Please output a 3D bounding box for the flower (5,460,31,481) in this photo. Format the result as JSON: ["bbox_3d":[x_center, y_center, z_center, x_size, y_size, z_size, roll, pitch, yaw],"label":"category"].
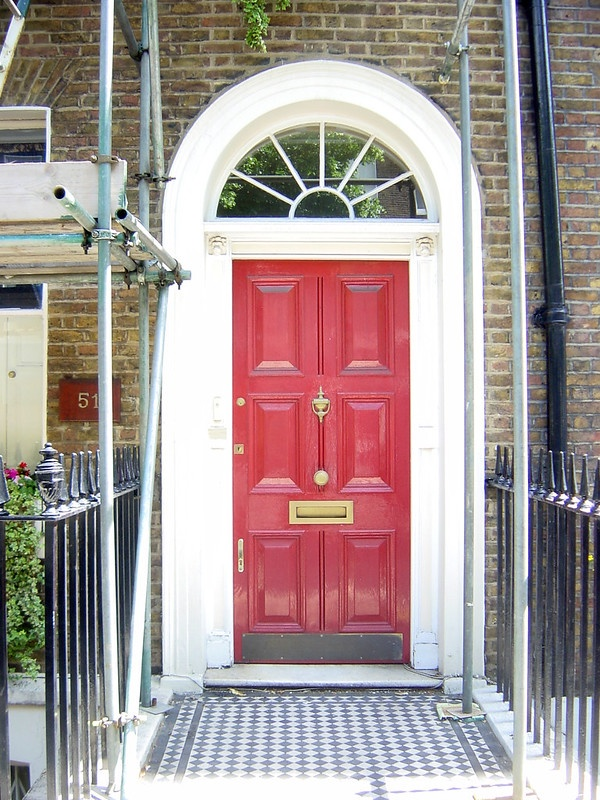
[{"bbox_3d":[-1.366,0.357,6.020,0.048,0.109,0.098,9,-12,13],"label":"flower"}]
